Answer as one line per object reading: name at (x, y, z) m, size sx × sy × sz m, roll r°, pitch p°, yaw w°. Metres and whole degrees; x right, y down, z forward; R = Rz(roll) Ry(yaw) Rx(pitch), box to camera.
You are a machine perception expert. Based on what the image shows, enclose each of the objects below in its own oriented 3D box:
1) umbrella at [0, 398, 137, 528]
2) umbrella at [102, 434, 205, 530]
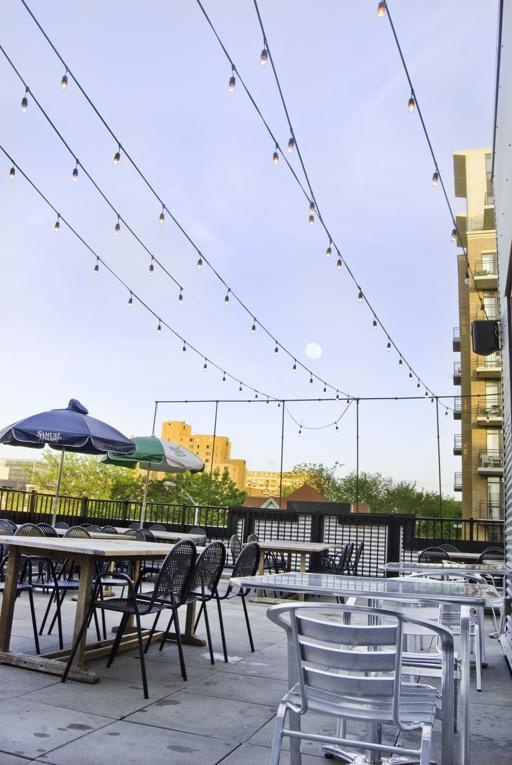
umbrella at (-2.493, 0.954, 7.026) m, size 1.432 × 1.729 × 1.239 m, roll -4°, pitch -14°, yaw 37°
umbrella at (-1.702, 1.566, 8.745) m, size 1.323 × 1.507 × 1.375 m, roll 7°, pitch -4°, yaw 11°
